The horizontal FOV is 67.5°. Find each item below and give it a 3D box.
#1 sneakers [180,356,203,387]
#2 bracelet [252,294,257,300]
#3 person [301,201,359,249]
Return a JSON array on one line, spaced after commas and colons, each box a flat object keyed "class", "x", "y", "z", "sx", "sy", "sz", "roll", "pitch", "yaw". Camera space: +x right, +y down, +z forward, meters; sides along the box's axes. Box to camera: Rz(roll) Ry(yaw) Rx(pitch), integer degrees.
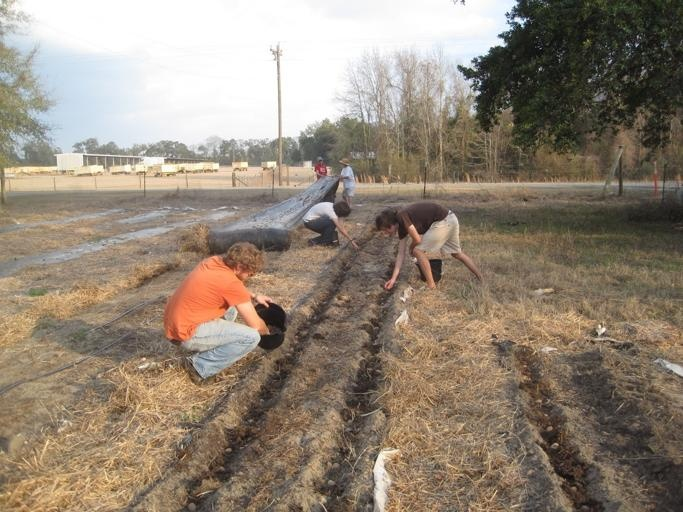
[{"class": "sneakers", "x": -1.575, "y": 1.218, "z": 5.371, "sx": 0.071, "sy": 0.318, "sz": 0.186, "roll": -31, "pitch": -3, "yaw": 5}, {"class": "bracelet", "x": -0.975, "y": 0.455, "z": 5.672, "sx": 0.013, "sy": 0.058, "sz": 0.055, "roll": -1, "pitch": 33, "yaw": -33}, {"class": "person", "x": -0.217, "y": -0.647, "z": 10.098, "sx": 0.746, "sy": 0.906, "sz": 1.134, "roll": -13, "pitch": 15, "yaw": -34}]
